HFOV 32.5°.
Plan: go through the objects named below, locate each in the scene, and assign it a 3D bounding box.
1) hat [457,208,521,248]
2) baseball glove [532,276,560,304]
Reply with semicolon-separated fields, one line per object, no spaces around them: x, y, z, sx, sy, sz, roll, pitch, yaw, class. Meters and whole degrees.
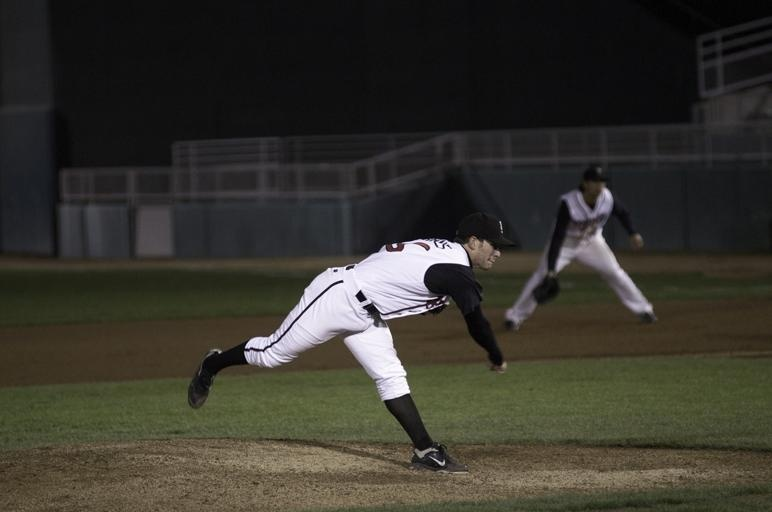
1.317;-0.350;17.395;0.685;0.333;0.464;6;6;4;hat
2.456;0.537;20.273;0.433;0.179;0.322;-36;1;17;baseball glove
